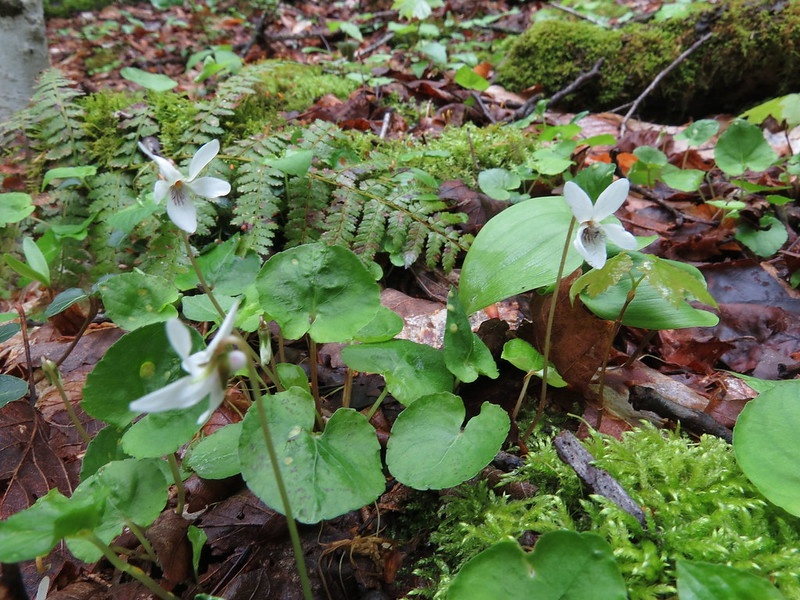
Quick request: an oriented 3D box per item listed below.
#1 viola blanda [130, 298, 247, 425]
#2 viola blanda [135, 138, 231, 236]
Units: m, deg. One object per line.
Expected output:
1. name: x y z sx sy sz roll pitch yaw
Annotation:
1. viola blanda: -0.794 0.260 2.453 0.424 0.335 0.311 -9 50 -13
2. viola blanda: -1.028 -0.548 3.105 0.319 0.211 0.320 -44 68 14
